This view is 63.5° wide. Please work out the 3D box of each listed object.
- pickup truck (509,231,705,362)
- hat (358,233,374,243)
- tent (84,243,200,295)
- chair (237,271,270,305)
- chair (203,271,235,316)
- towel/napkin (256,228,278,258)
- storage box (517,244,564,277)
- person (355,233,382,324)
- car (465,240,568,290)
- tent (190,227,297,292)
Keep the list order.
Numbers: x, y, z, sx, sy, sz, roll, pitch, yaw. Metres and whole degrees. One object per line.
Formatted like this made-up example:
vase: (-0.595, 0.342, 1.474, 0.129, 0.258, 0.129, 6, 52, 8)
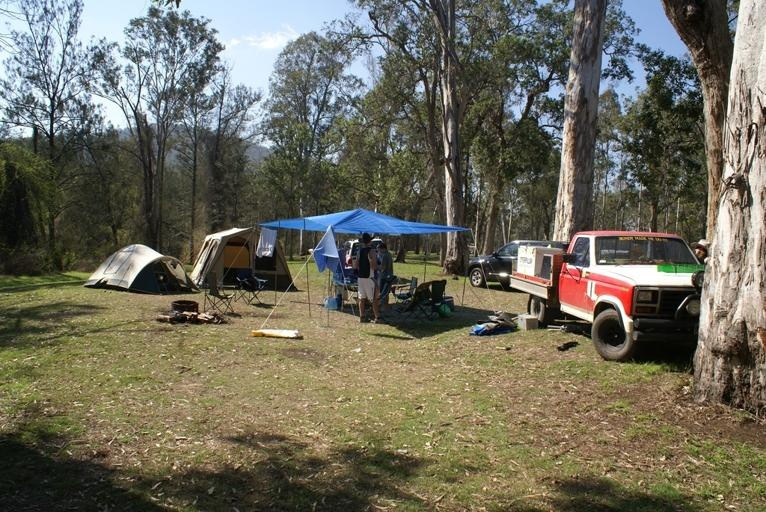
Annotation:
pickup truck: (4.792, 0.752, 12.838, 2.011, 1.545, 3.422, 1, 0, -12)
hat: (-0.469, -0.447, 15.816, 0.217, 0.294, 0.287, 3, 7, 6)
tent: (-7.987, 0.547, 20.090, 2.352, 0.954, 1.964, 5, 3, 38)
chair: (-4.200, 0.878, 18.819, 0.742, 0.883, 0.785, -19, 19, -18)
chair: (-4.476, 1.029, 16.888, 0.737, 1.147, 0.818, 5, 5, 32)
towel/napkin: (-3.695, -0.439, 19.567, 0.396, 1.025, 0.762, -13, 19, -43)
storage box: (3.848, 0.069, 14.950, 0.581, 0.740, 1.144, 0, 2, -11)
person: (-0.381, 0.626, 16.045, 0.552, 2.461, 1.105, 1, 14, -1)
car: (4.156, 0.360, 22.099, 2.721, 1.331, 1.540, 6, 4, 41)
tent: (-5.173, 0.189, 21.763, 2.332, 1.385, 3.457, 0, 0, -27)
